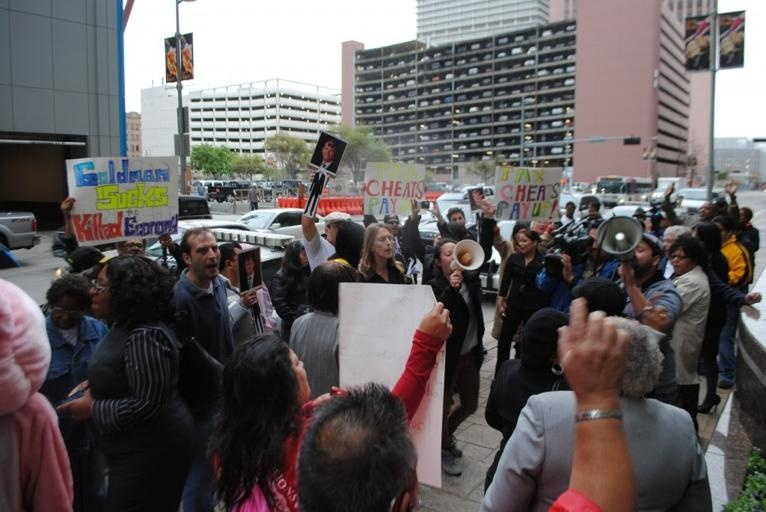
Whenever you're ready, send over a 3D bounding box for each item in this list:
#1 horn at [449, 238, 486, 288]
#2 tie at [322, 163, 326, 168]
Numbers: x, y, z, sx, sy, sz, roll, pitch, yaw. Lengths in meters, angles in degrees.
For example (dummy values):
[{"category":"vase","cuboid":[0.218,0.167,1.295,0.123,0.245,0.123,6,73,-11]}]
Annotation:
[{"category":"horn","cuboid":[0.800,0.122,5.277,0.303,0.479,0.433,6,-11,-13]},{"category":"tie","cuboid":[-0.752,-1.181,6.820,0.046,0.048,0.011,-31,-5,35]}]
